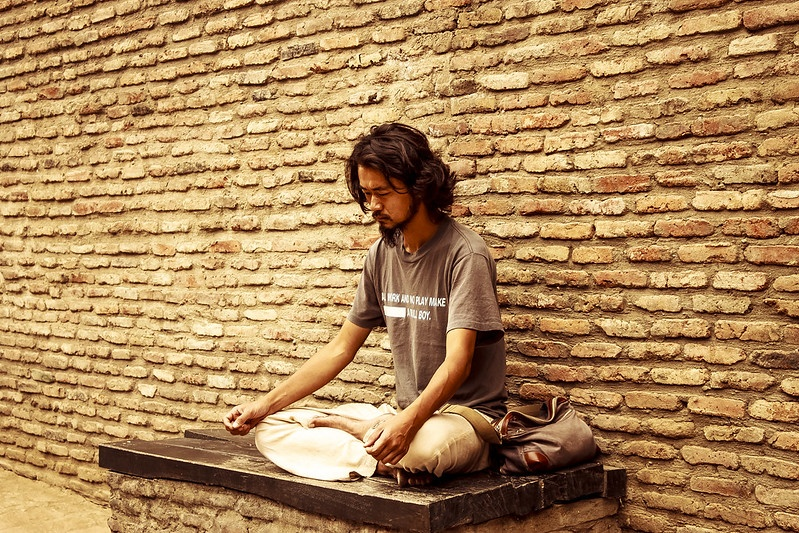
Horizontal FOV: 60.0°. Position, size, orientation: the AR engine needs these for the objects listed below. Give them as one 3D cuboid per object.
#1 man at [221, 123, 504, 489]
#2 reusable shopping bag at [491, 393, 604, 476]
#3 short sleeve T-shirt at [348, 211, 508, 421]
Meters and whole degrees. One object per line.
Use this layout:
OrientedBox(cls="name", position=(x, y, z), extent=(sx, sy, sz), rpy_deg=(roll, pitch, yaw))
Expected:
OrientedBox(cls="man", position=(-0.218, 0.232, 3.833), extent=(1.627, 1.770, 1.465), rpy_deg=(-4, -2, 21))
OrientedBox(cls="reusable shopping bag", position=(0.800, 0.867, 3.728), extent=(0.455, 0.171, 0.428), rpy_deg=(-6, 1, -23))
OrientedBox(cls="short sleeve T-shirt", position=(0.230, 0.298, 3.967), extent=(0.704, 1.067, 1.254), rpy_deg=(-4, 5, -33))
